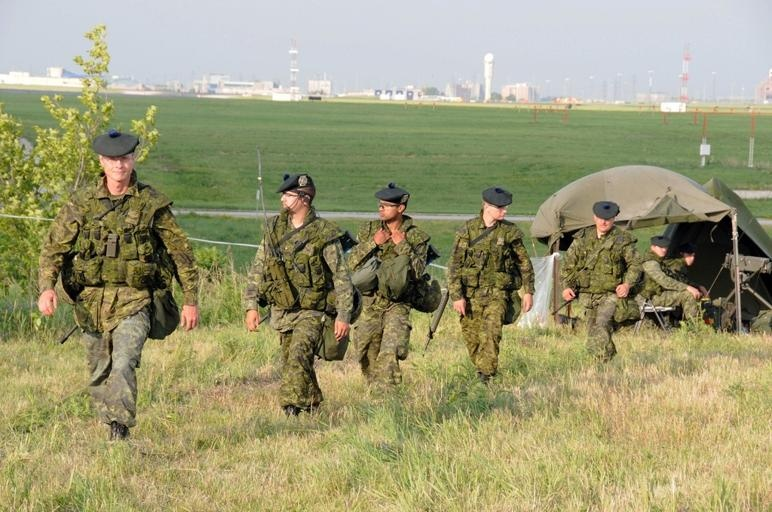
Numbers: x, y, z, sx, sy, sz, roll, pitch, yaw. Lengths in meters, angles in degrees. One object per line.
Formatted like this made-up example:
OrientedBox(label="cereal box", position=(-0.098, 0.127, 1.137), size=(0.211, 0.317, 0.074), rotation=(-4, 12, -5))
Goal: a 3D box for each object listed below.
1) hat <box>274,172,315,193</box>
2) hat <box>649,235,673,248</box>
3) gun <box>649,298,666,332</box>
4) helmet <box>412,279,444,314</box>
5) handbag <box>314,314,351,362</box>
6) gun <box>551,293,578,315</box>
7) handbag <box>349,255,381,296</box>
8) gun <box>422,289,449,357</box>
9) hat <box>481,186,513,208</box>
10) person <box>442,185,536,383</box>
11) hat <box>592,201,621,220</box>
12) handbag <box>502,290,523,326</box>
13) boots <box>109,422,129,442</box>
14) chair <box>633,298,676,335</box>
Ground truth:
OrientedBox(label="hat", position=(-1.445, -1.166, 23.188), size=(0.354, 0.283, 0.527), rotation=(0, 9, 24))
OrientedBox(label="hat", position=(5.571, -0.223, 28.410), size=(0.349, 0.212, 0.390), rotation=(1, 9, 12))
OrientedBox(label="gun", position=(5.590, 1.262, 28.730), size=(0.131, 0.630, 0.147), rotation=(-20, -6, -24))
OrientedBox(label="helmet", position=(0.655, 0.679, 24.466), size=(0.260, 0.469, 0.611), rotation=(-22, -6, 6))
OrientedBox(label="handbag", position=(-0.857, 1.470, 23.612), size=(0.531, 1.161, 0.787), rotation=(0, 0, 14))
OrientedBox(label="gun", position=(3.682, 1.057, 29.167), size=(0.096, 0.879, 0.102), rotation=(39, 40, 7))
OrientedBox(label="handbag", position=(-0.364, 0.403, 23.974), size=(0.405, 0.589, 0.303), rotation=(27, -1, -11))
OrientedBox(label="gun", position=(0.903, 1.318, 26.024), size=(0.184, 1.277, 0.236), rotation=(21, -9, -19))
OrientedBox(label="hat", position=(1.955, -0.963, 24.720), size=(0.484, 0.324, 0.471), rotation=(0, 9, -1))
OrientedBox(label="person", position=(1.841, 0.529, 24.795), size=(1.274, 3.293, 1.073), rotation=(5, 9, 35))
OrientedBox(label="hat", position=(4.083, -0.759, 25.948), size=(0.435, 0.345, 0.313), rotation=(2, 8, 13))
OrientedBox(label="handbag", position=(2.180, 0.996, 24.982), size=(0.359, 0.686, 0.461), rotation=(11, -4, -15))
OrientedBox(label="boots", position=(-4.284, 2.793, 22.232), size=(0.322, 0.304, 0.303), rotation=(-1, 8, -2))
OrientedBox(label="chair", position=(5.509, 1.251, 28.646), size=(0.779, 1.165, 0.719), rotation=(-3, -2, 21))
